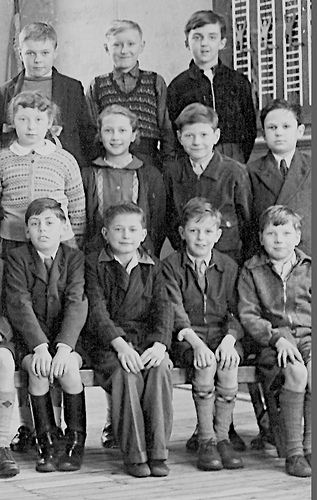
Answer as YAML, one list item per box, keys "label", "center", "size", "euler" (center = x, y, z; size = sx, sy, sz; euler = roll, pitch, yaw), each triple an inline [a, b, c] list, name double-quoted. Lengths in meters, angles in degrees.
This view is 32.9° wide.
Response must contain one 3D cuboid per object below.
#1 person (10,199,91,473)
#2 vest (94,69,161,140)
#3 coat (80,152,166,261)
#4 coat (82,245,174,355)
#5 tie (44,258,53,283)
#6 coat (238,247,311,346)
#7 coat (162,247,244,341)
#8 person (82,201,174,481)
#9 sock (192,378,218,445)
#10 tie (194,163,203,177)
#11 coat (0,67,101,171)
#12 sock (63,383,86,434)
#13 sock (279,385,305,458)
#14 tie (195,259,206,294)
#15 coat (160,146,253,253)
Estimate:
- label: "person"
  center: [-0.373, 0.267, 1.835]
  size: [0.272, 0.885, 0.380]
  euler: [-2, 5, -7]
- label: "vest"
  center: [-0.152, -0.725, 2.745]
  size: [0.326, 0.417, 0.231]
  euler: [-2, -8, -7]
- label: "coat"
  center: [-0.163, -0.086, 2.292]
  size: [0.379, 0.701, 0.178]
  euler: [2, -22, -7]
- label: "coat"
  center: [-0.110, 0.188, 1.938]
  size: [0.258, 0.379, 0.126]
  euler: [-1, -8, -15]
- label: "tie"
  center: [-0.391, 0.061, 1.920]
  size: [0.043, 0.061, 0.016]
  euler: [-4, -2, -28]
- label: "coat"
  center: [0.430, 0.175, 1.951]
  size: [0.277, 0.346, 0.095]
  euler: [-3, -12, 5]
- label: "coat"
  center: [0.150, 0.160, 2.028]
  size: [0.257, 0.349, 0.107]
  euler: [-3, -14, -7]
- label: "person"
  center: [-0.076, 0.269, 1.836]
  size: [0.313, 0.860, 0.480]
  euler: [-3, 5, -16]
- label: "sock"
  center: [0.156, 0.552, 1.826]
  size: [0.071, 0.197, 0.105]
  euler: [-2, 5, -2]
- label: "tie"
  center: [0.171, -0.349, 2.305]
  size: [0.011, 0.042, 0.042]
  euler: [-5, 5, -41]
- label: "coat"
  center: [-0.551, -0.649, 2.610]
  size: [0.482, 0.502, 0.394]
  euler: [-4, 5, -32]
- label: "sock"
  center: [-0.278, 0.552, 1.811]
  size: [0.073, 0.219, 0.065]
  euler: [0, 22, -7]
- label: "sock"
  center: [0.441, 0.571, 1.779]
  size: [0.077, 0.205, 0.114]
  euler: [0, 5, 14]
- label: "tie"
  center: [0.158, 0.094, 2.030]
  size: [0.024, 0.100, 0.072]
  euler: [-13, -6, 21]
- label: "coat"
  center: [0.203, -0.200, 2.252]
  size: [0.506, 0.567, 0.240]
  euler: [-2, 1, 6]
